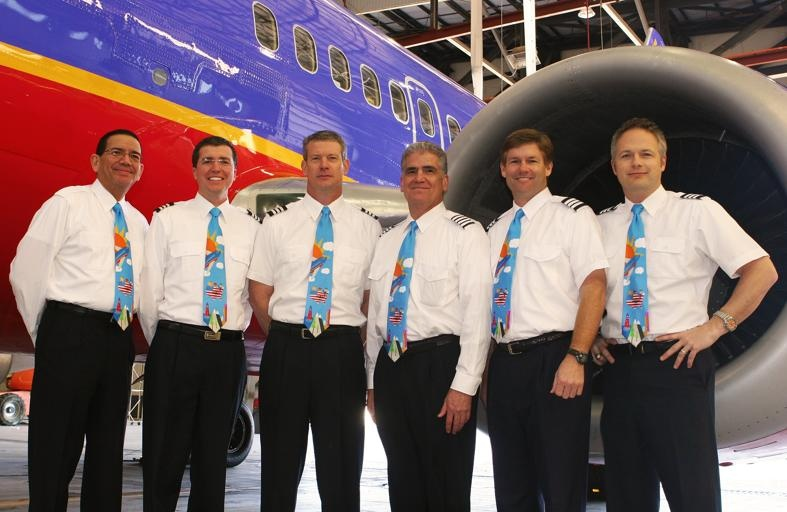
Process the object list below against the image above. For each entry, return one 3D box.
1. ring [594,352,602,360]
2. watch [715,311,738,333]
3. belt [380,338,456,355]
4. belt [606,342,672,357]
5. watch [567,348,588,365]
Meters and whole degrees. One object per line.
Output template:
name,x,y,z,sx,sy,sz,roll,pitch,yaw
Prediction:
ring,1.163,0.567,3.937,0.035,0.043,0.017,-7,-2,27
watch,1.769,0.347,3.680,0.055,0.081,0.086,-38,-46,3
belt,0.220,0.503,3.960,0.296,0.103,0.035,0,-17,1
belt,1.347,0.512,3.775,0.336,0.089,0.060,-9,-19,28
watch,0.987,0.535,3.736,0.088,0.094,0.089,28,-15,3
